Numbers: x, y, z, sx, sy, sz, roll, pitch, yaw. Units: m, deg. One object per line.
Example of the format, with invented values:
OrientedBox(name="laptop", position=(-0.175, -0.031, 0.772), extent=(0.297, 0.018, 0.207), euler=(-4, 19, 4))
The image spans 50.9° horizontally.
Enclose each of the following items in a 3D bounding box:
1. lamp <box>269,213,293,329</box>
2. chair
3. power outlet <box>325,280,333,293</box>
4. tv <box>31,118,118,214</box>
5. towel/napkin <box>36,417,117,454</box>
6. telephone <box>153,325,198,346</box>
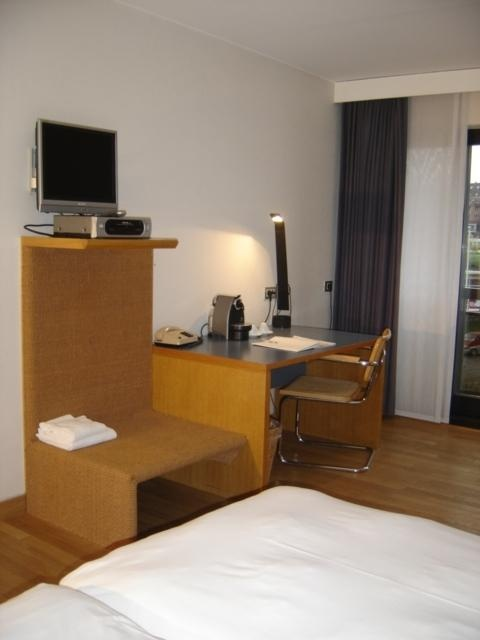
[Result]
OrientedBox(name="lamp", position=(0.306, -0.363, 3.707), extent=(0.167, 0.874, 0.621), euler=(2, -4, 6))
OrientedBox(name="chair", position=(0.685, 0.457, 3.569), extent=(0.801, 1.243, 0.814), euler=(3, 6, 18))
OrientedBox(name="power outlet", position=(0.772, -0.296, 4.411), extent=(0.011, 0.104, 0.096), euler=(7, 11, 35))
OrientedBox(name="tv", position=(-0.767, -0.698, 2.294), extent=(0.057, 0.422, 0.436), euler=(5, 8, 34))
OrientedBox(name="towel/napkin", position=(-0.744, 0.514, 2.312), extent=(0.326, 0.119, 0.267), euler=(0, -6, 44))
OrientedBox(name="telephone", position=(-0.372, 0.065, 2.856), extent=(0.162, 0.073, 0.129), euler=(8, 10, 29))
